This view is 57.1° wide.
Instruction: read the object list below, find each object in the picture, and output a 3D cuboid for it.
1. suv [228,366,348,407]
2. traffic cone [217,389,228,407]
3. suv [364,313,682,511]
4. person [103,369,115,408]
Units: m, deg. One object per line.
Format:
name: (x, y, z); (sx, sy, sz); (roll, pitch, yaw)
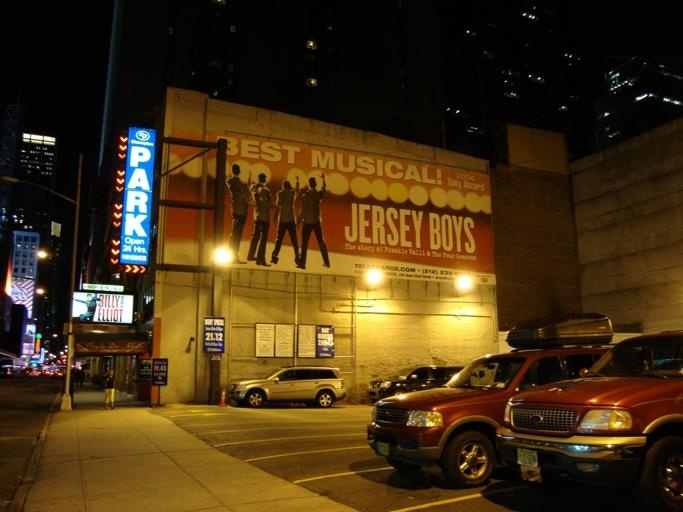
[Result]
suv: (-2.430, 5.947, 28.505); (4.801, 1.630, 2.100); (6, -15, -17)
traffic cone: (-5.260, 6.416, 28.187); (0.578, 0.780, 0.577); (-5, -11, 42)
suv: (3.746, 2.888, 13.100); (5.542, 3.304, 3.473); (3, -7, -31)
person: (-9.734, 5.601, 26.200); (0.355, 1.523, 1.222); (2, -6, -21)
